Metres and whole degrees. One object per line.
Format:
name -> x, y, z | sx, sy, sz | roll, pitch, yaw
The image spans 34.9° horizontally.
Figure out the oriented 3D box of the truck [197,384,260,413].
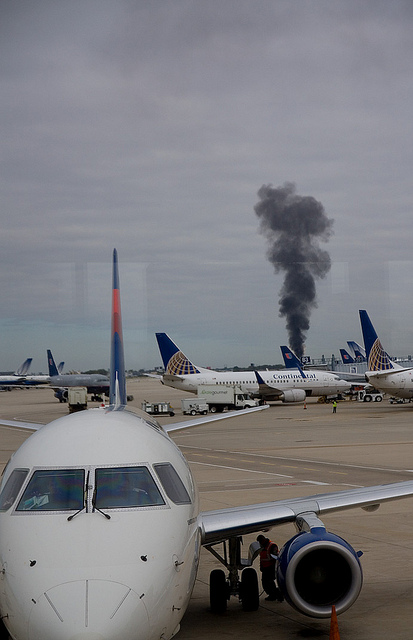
truck -> 1.790, 7.475, 62.194 | 6.728, 3.045, 2.686 | -1, -1, 0
